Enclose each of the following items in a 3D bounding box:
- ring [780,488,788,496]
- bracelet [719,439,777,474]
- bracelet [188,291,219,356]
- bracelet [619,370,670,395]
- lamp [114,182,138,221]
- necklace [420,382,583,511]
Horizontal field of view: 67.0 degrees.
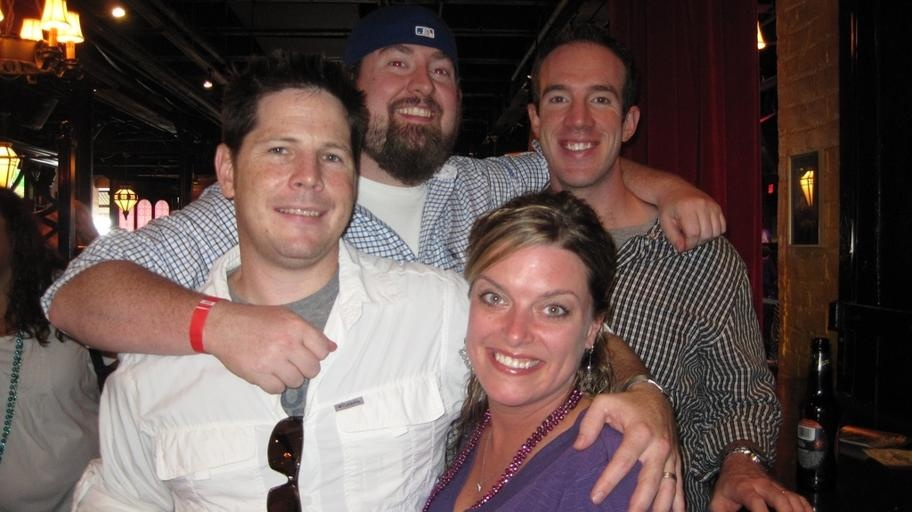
[{"bbox_3d":[1.871,1.354,3.939,0.052,0.046,0.015,1,-28,-18],"label":"ring"},{"bbox_3d":[1.755,1.184,4.194,0.275,0.160,0.264,14,13,15],"label":"bracelet"},{"bbox_3d":[-1.397,0.378,3.809,0.082,0.315,0.113,2,-1,35],"label":"bracelet"},{"bbox_3d":[1.110,0.741,4.021,0.179,0.076,0.139,31,22,4],"label":"bracelet"},{"bbox_3d":[-8.928,-1.472,18.686,0.665,0.831,0.629,-1,-3,-21],"label":"lamp"},{"bbox_3d":[0.310,1.149,3.961,0.610,0.933,0.048,34,-8,48],"label":"necklace"}]
